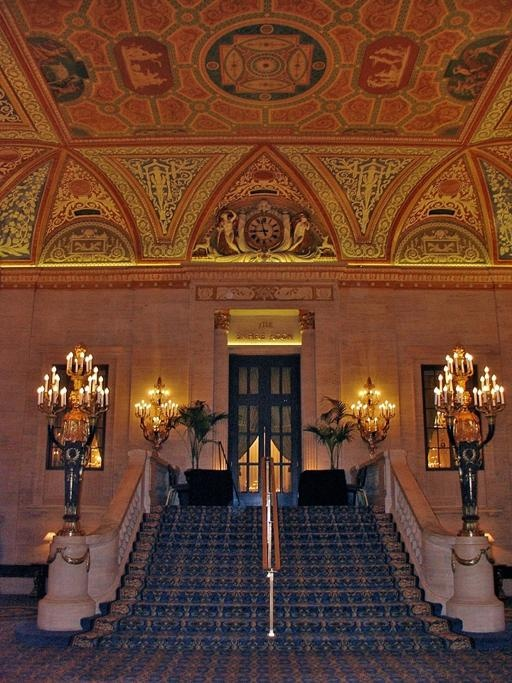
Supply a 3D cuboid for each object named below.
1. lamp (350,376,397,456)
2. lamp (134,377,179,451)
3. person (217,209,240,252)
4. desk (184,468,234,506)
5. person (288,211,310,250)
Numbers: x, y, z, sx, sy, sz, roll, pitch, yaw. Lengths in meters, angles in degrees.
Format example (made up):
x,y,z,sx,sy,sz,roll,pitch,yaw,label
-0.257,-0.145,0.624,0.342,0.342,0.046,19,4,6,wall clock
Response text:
x,y,z,sx,sy,sz,roll,pitch,yaw,label
2.463,1.537,11.890,0.910,1.584,0.711,-1,-8,10,lamp
-2.062,1.504,11.837,0.869,1.516,0.906,2,-8,-8,lamp
-0.633,-2.510,13.096,0.552,1.068,0.201,1,-8,-2,person
-0.820,2.602,10.091,0.893,0.761,0.422,-1,-2,-9,desk
1.011,-2.480,13.085,0.497,0.912,0.200,1,-8,0,person
